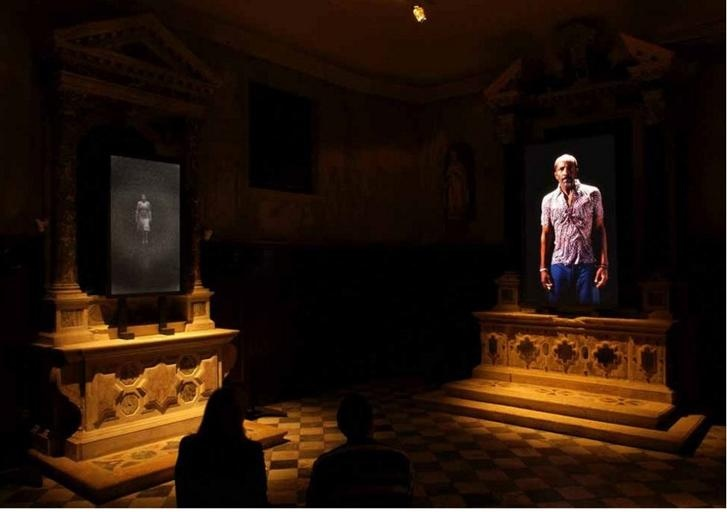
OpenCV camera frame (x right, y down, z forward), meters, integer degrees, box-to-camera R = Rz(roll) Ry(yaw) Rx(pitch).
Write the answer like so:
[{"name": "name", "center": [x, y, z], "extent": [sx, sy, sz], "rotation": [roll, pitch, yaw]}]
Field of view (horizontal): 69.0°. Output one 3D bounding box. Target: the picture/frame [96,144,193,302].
[{"name": "picture/frame", "center": [-2.616, -0.353, 6.320], "extent": [0.066, 1.574, 0.887], "rotation": [2, 3, 44]}]

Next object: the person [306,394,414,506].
[{"name": "person", "center": [-0.012, 1.379, 3.710], "extent": [0.633, 0.731, 0.537], "rotation": [2, 3, 38]}]

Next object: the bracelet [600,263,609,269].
[{"name": "bracelet", "center": [3.347, 0.136, 7.353], "extent": [0.098, 0.078, 0.022], "rotation": [1, 3, 18]}]
